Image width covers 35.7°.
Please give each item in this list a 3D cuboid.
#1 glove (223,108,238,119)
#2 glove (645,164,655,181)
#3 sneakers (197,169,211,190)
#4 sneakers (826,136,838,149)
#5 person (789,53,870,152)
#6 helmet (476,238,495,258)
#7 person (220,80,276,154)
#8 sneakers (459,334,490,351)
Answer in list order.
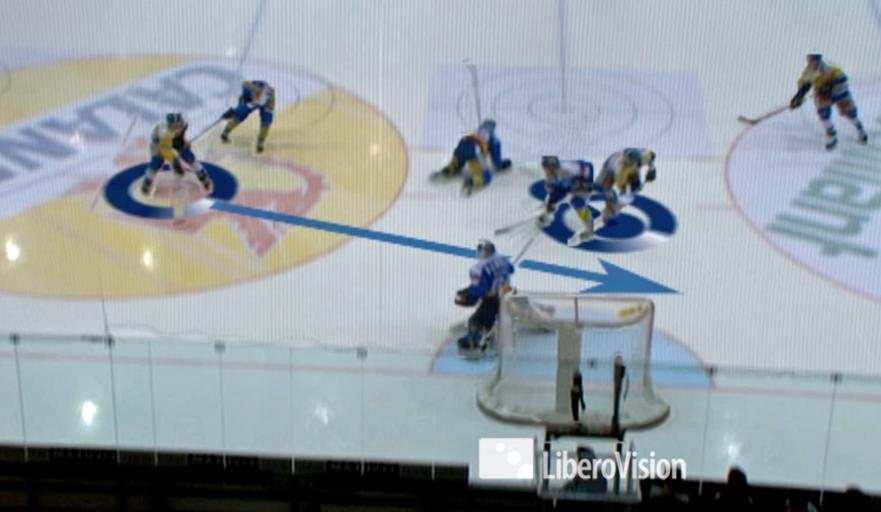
[{"bbox_3d":[-3.748,-2.543,24.417,0.109,0.255,0.122,32,-1,20],"label":"glove"},{"bbox_3d":[3.742,-1.467,24.121,0.106,0.309,0.217,12,-37,18],"label":"glove"},{"bbox_3d":[-4.219,-1.350,24.454,0.210,0.392,0.106,-32,17,-14],"label":"sneakers"},{"bbox_3d":[6.916,-1.993,24.105,0.176,0.226,0.097,0,4,1],"label":"sneakers"},{"bbox_3d":[6.895,-2.765,24.014,1.175,1.869,0.616,-17,7,13],"label":"person"},{"bbox_3d":[0.825,-0.131,24.248,0.324,0.317,0.263,-5,-5,38],"label":"helmet"},{"bbox_3d":[-3.452,-2.556,24.620,0.879,1.216,0.686,15,-4,-13],"label":"person"},{"bbox_3d":[0.609,1.556,24.256,0.557,0.201,0.114,1,-1,-4],"label":"sneakers"}]
